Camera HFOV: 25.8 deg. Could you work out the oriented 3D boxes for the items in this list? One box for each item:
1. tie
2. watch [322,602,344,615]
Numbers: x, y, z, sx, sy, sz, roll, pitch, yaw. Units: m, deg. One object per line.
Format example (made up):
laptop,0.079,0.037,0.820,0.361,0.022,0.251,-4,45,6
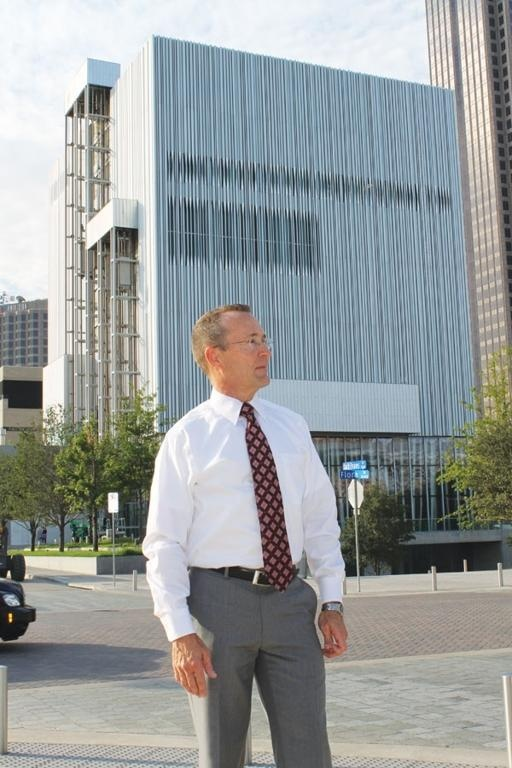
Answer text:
tie,0.044,0.434,3.997,0.132,0.609,0.041,-9,-16,-1
watch,0.275,0.805,4.066,0.066,0.042,0.068,-12,-20,26
